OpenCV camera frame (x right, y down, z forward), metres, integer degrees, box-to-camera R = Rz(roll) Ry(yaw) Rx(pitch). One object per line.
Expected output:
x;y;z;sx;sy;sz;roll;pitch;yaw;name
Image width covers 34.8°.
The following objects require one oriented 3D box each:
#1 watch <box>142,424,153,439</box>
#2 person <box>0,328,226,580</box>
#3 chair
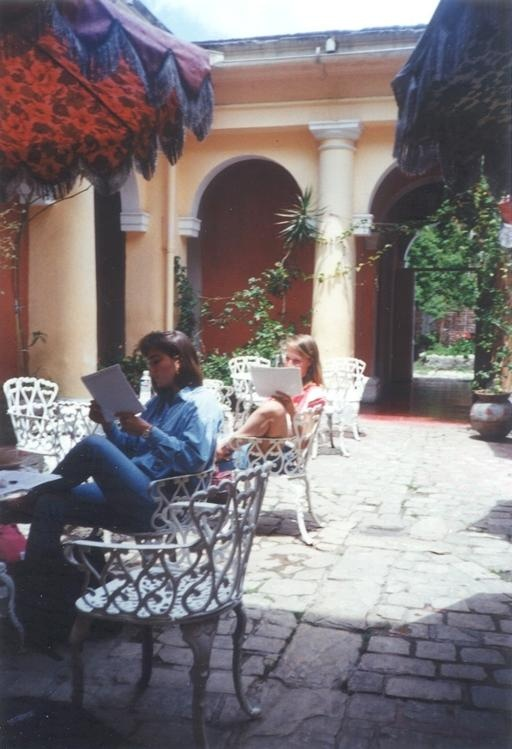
-0.426;0.221;3.222;0.049;0.049;0.050;19;-17;-22;watch
-0.548;0.498;3.804;1.143;1.366;0.641;11;-21;-12;person
-0.506;0.551;3.210;1.213;1.510;1.207;-5;-9;35;chair
